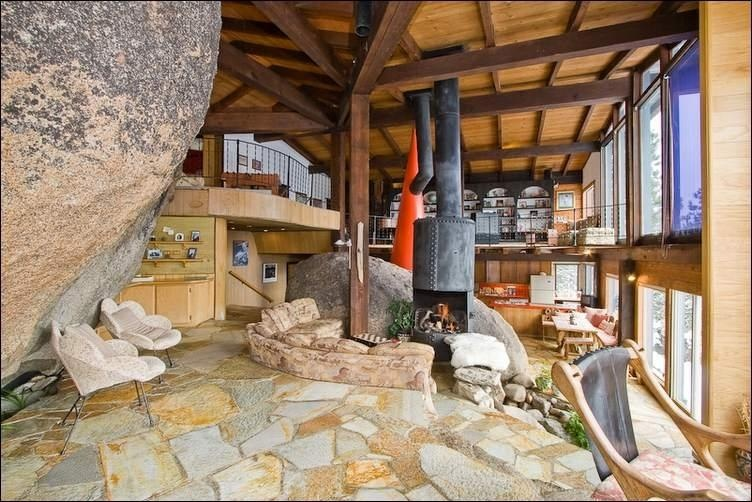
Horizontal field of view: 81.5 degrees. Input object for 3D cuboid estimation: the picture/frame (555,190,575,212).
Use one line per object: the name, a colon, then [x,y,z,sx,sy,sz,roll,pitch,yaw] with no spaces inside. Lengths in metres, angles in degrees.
picture/frame: [6.422,-1.744,14.980,0.574,0.509,0.229,2,1,17]

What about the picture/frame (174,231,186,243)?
picture/frame: [-4.097,-0.293,9.074,0.200,0.202,0.102,1,1,-18]

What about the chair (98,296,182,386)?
chair: [-3.496,1.198,6.464,1.072,0.879,0.850,9,8,0]

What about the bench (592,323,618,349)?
bench: [4.563,1.726,8.791,0.445,0.417,1.176,1,-1,26]

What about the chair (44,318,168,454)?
chair: [-3.272,1.522,5.420,1.334,1.127,1.138,0,0,-15]

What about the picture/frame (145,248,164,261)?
picture/frame: [-4.581,0.059,9.016,0.297,0.229,0.196,1,1,-25]

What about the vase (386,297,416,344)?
vase: [0.445,1.353,8.448,0.552,0.640,0.331,-3,-7,26]

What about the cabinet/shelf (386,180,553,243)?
cabinet/shelf: [2.754,-1.309,14.926,5.920,1.450,2.991,2,1,19]

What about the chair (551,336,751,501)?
chair: [2.702,1.788,4.859,1.452,1.846,1.750,0,-16,-19]

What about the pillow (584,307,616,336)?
pillow: [5.071,1.581,10.024,0.168,0.478,0.519,-13,-2,11]

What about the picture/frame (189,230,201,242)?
picture/frame: [-3.787,-0.317,9.138,0.198,0.249,0.084,1,1,-22]
